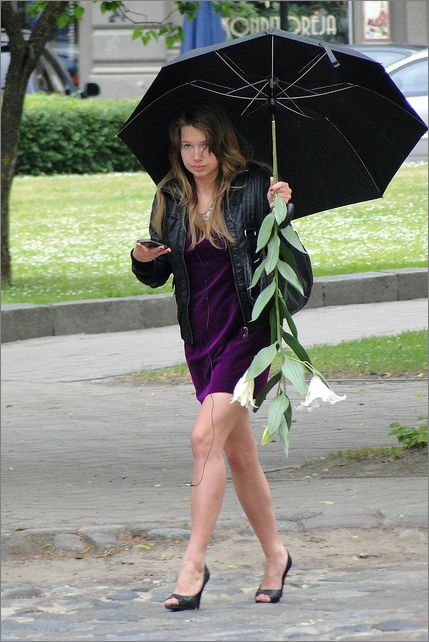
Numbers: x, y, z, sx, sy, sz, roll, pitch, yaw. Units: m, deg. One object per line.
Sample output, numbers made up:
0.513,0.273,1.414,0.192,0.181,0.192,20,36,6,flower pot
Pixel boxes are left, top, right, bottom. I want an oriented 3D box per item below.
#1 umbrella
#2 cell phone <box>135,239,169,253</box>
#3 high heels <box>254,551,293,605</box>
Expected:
0.358,-0.862,3.787,0.831,0.739,0.343,1,45,4,umbrella
-0.222,-0.264,3.241,0.105,0.040,0.074,-10,11,-36,cell phone
0.199,0.893,3.261,0.103,0.144,0.168,-1,10,19,high heels
